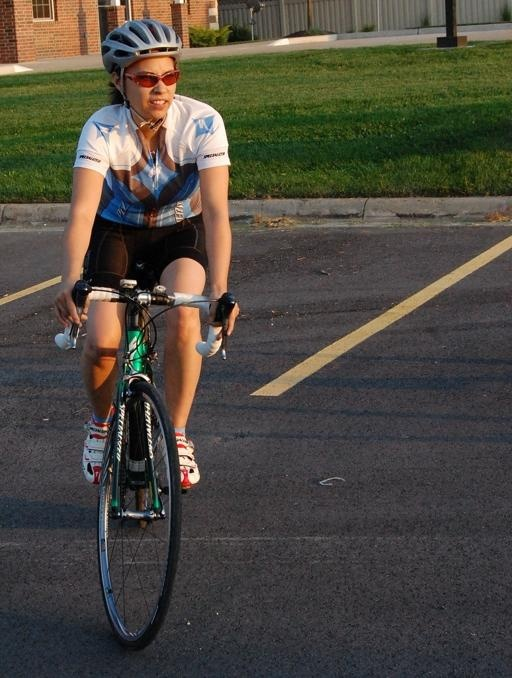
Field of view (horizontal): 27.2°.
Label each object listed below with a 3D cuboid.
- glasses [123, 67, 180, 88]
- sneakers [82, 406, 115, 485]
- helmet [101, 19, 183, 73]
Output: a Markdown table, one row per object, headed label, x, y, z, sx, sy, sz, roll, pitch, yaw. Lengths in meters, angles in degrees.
| label | x | y | z | sx | sy | sz | roll | pitch | yaw |
| --- | --- | --- | --- | --- | --- | --- | --- | --- | --- |
| glasses | -0.348 | -0.954 | 3.865 | 0.217 | 0.067 | 0.106 | -11 | 15 | -33 |
| sneakers | -0.624 | 0.432 | 4.185 | 0.134 | 0.322 | 0.139 | 1 | 3 | -7 |
| helmet | -0.427 | -1.082 | 3.879 | 0.299 | 0.192 | 0.278 | -2 | 13 | 1 |
